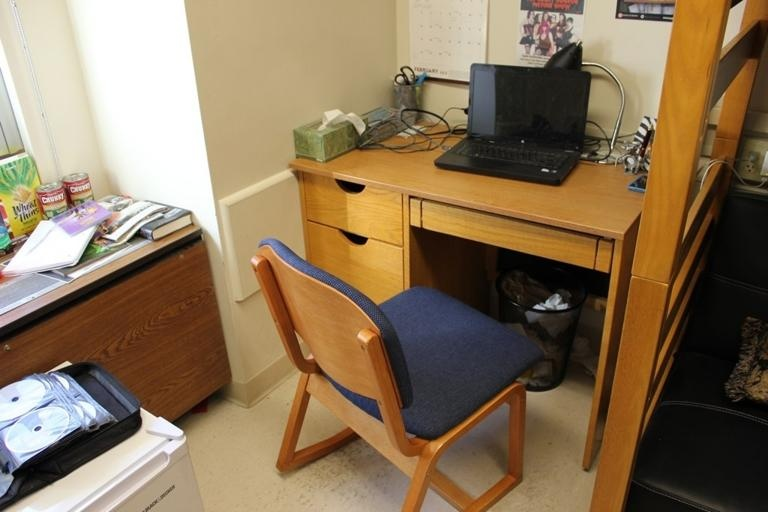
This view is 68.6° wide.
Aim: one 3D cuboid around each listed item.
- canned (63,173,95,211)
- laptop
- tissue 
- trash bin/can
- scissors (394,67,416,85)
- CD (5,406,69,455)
[{"bbox_3d":[-1.224,-0.252,2.248,0.090,0.159,0.096,-3,32,-13],"label":"canned"},{"bbox_3d":[0.496,-0.535,2.175,0.500,0.325,0.410,15,33,30],"label":"laptop"},{"bbox_3d":[-0.228,-0.543,2.418,0.166,0.189,0.306,16,33,30],"label":"tissue "},{"bbox_3d":[0.637,0.249,2.543,0.437,0.479,0.451,-12,32,-17],"label":"trash bin/can"},{"bbox_3d":[0.101,-0.843,2.633,0.078,0.119,0.030,-4,23,15],"label":"scissors"},{"bbox_3d":[-0.976,0.492,1.587,0.164,0.036,0.146,-26,36,-36],"label":"CD"}]
